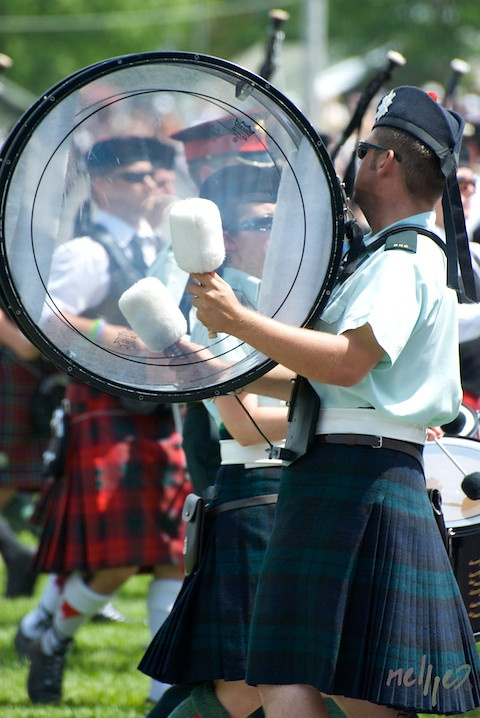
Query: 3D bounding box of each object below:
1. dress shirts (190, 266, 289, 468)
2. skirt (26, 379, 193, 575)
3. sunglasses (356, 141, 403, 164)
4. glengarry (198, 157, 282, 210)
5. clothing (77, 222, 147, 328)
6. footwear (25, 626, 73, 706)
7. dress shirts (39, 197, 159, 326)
[{"bbox_3d":[-0.059,0.014,1.776,0.144,0.290,0.318,5,98,45],"label":"dress shirts"},{"bbox_3d":[-0.429,0.437,3.084,0.657,0.242,0.594,12,65,-16],"label":"skirt"},{"bbox_3d":[0.282,-0.426,1.860,0.080,0.071,0.020,12,93,11],"label":"sunglasses"},{"bbox_3d":[0.008,-0.364,1.907,0.187,0.196,0.060,2,71,-7],"label":"glengarry"},{"bbox_3d":[-0.274,-0.199,2.111,0.193,0.178,0.207,12,104,24],"label":"clothing"},{"bbox_3d":[-0.599,0.965,2.945,0.128,0.098,0.240,-9,78,39],"label":"footwear"},{"bbox_3d":[-0.327,-0.216,1.991,0.097,0.204,0.256,8,81,36],"label":"dress shirts"}]
